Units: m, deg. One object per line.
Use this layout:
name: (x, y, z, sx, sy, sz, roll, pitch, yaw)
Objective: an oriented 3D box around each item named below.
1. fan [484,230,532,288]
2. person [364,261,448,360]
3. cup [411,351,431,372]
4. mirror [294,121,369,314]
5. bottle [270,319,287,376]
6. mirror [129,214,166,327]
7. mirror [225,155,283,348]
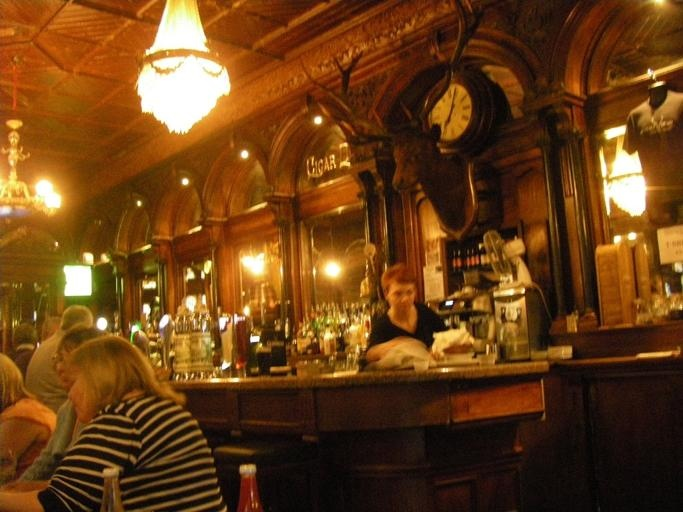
fan: (1.464, 0.063, 5.424, 0.269, 0.535, 0.265, -10, -9, -13)
person: (0.471, 0.384, 5.060, 0.774, 0.702, 0.256, 3, -13, -35)
cup: (0.523, 0.669, 4.048, 0.111, 0.111, 0.242, -10, -14, 20)
mirror: (-0.096, -0.521, 8.402, 0.434, 2.376, 1.157, 4, -14, -39)
bottle: (-0.451, 0.638, 4.568, 0.121, 0.404, 0.120, 1, 17, 0)
mirror: (-3.465, 0.277, 11.342, 0.166, 2.486, 1.655, 3, -8, -32)
mirror: (-1.162, -0.067, 8.580, 0.228, 3.372, 1.289, 9, -23, -30)
